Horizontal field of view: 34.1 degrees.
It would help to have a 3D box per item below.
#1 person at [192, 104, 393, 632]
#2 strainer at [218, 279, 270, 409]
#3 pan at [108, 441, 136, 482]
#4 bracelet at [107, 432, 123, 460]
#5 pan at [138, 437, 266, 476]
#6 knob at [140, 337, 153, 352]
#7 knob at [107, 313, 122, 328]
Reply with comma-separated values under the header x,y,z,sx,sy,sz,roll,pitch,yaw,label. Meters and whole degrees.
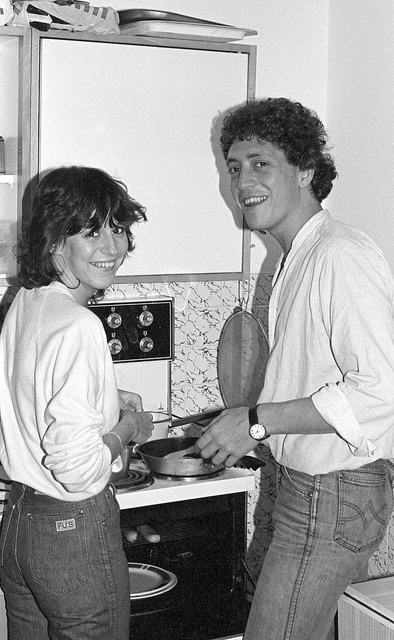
x,y,z,sx,sy,sz,roll,pitch,yaw,label
0.184,0.053,1.223,0.356,0.977,0.458,2,2,9,person
0.161,0.110,2.339,0.191,0.593,0.069,-1,22,-2,strainer
-0.191,0.377,1.720,0.094,0.097,0.098,0,-2,-6,pan
-0.139,0.229,1.161,0.013,0.041,0.038,-12,-20,5,bracelet
-0.006,0.385,1.763,0.299,0.069,0.194,1,-2,11,pan
-0.174,0.083,2.191,0.046,0.046,0.017,-21,13,-26,knob
-0.274,0.002,2.139,0.044,0.043,0.016,-21,22,-25,knob
